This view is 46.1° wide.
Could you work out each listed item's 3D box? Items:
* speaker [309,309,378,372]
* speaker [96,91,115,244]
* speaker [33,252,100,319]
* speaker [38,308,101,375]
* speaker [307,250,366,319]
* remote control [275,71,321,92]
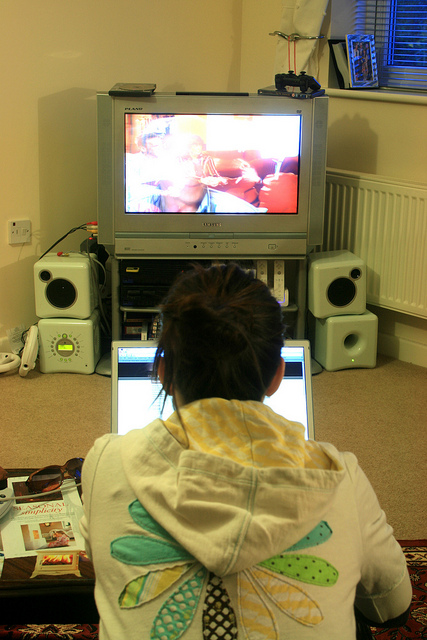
[{"bbox_3d":[0.896,0.121,3.487,0.372,0.395,0.398,-5,14,-15],"label":"speaker"},{"bbox_3d":[-0.642,-0.882,2.991,0.140,0.858,0.060,-4,11,-13],"label":"speaker"},{"bbox_3d":[-0.914,-0.221,3.215,0.351,0.415,0.388,0,8,1],"label":"speaker"},{"bbox_3d":[-0.959,0.152,3.404,0.379,0.368,0.410,4,11,8],"label":"speaker"},{"bbox_3d":[0.783,-0.261,3.456,0.369,0.436,0.410,-5,13,-11],"label":"speaker"},{"bbox_3d":[0.502,-1.427,3.018,0.266,0.136,0.127,0,12,8],"label":"remote control"}]
